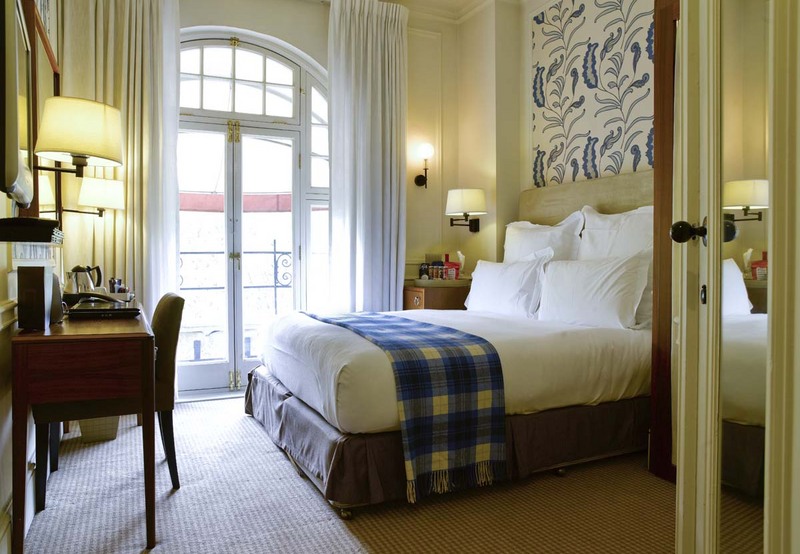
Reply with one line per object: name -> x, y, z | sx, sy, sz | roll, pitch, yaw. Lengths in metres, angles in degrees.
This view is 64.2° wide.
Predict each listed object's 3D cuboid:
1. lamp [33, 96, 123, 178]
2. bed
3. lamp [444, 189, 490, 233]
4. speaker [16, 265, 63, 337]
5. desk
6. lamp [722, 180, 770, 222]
lamp -> -1.907, -0.829, 3.824 | 0.444, 0.352, 0.461 | -2, -4, -37
bed -> 0.417, 0.647, 4.360 | 2.253, 1.662, 2.352 | -2, 2, -25
lamp -> 0.564, -0.601, 6.087 | 0.288, 0.340, 0.290 | -16, 6, 42
speaker -> -1.846, 0.104, 3.285 | 0.161, 0.323, 0.200 | 1, 2, 26
desk -> -1.579, 0.796, 3.209 | 0.699, 1.093, 0.555 | -5, 13, -23
lamp -> 1.321, -0.288, 2.435 | 0.117, 0.128, 0.132 | 3, -3, -23
